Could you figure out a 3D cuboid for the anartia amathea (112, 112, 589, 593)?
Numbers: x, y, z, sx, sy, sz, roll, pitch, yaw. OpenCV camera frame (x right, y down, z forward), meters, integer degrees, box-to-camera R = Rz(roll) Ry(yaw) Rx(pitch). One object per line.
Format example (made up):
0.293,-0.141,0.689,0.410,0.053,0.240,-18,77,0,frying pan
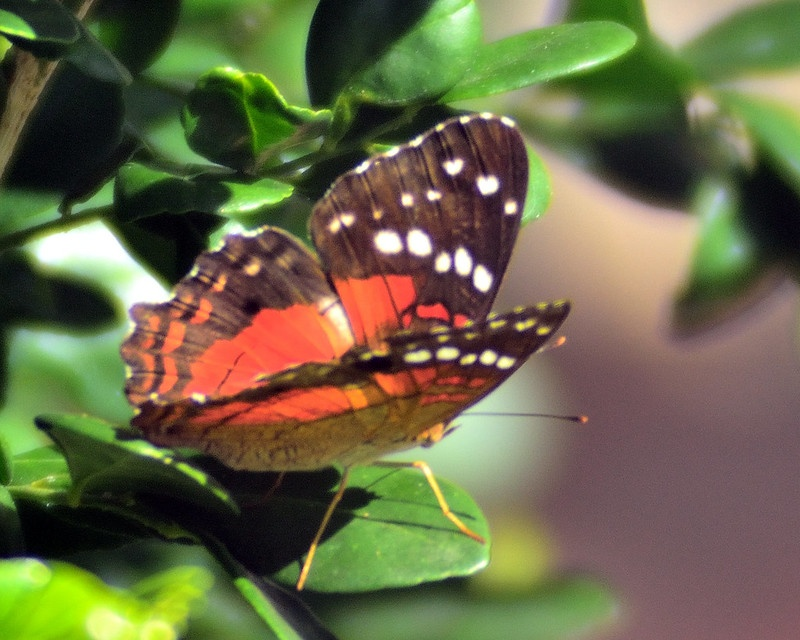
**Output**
-0.043,0.053,0.860,0.429,0.297,0.445,-5,26,6,anartia amathea
